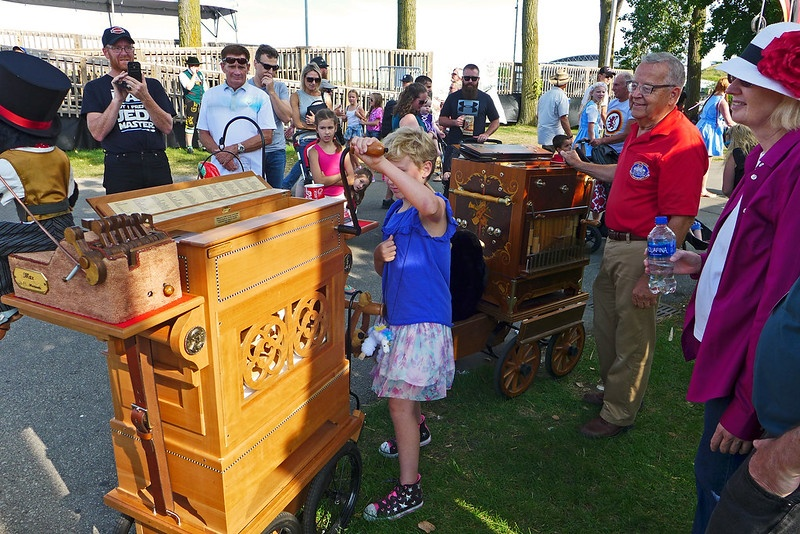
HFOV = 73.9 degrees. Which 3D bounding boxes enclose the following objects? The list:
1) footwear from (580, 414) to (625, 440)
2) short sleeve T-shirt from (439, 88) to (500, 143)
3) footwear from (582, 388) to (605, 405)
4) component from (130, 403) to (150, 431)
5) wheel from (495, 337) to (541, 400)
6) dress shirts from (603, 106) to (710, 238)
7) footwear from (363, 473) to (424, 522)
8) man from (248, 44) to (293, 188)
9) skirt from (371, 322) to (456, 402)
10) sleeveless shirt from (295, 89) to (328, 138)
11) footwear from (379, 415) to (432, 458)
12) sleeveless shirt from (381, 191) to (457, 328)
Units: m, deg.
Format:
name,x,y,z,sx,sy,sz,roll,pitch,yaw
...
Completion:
name,x,y,z,sx,sy,sz,roll,pitch,yaw
footwear,1.583,1.238,4.121,0.347,0.160,0.144,0,14,-8
short sleeve T-shirt,1.063,-2.391,8.343,0.925,0.857,0.448,8,32,9
footwear,1.606,1.070,4.457,0.091,0.120,0.169,0,14,-34
component,-1.240,0.714,2.519,0.109,0.124,0.034,9,20,23
wheel,0.972,0.846,4.400,0.408,0.435,0.126,-16,29,-37
dress shirts,1.806,-0.677,3.922,0.501,0.960,0.931,-6,26,-6
footwear,-0.040,1.447,3.437,0.458,0.244,0.169,-4,13,-25
man,-1.786,-1.728,7.291,0.676,2.378,0.564,3,20,-3
skirt,0.067,0.559,3.452,0.494,0.458,0.409,-1,7,-22
sleeveless shirt,-1.307,-2.298,7.918,0.549,0.750,0.382,-16,31,-41
footwear,0.052,1.253,3.959,0.189,0.299,0.513,8,1,40
sleeveless shirt,0.134,-0.038,3.479,0.417,0.825,0.547,3,-1,-21
